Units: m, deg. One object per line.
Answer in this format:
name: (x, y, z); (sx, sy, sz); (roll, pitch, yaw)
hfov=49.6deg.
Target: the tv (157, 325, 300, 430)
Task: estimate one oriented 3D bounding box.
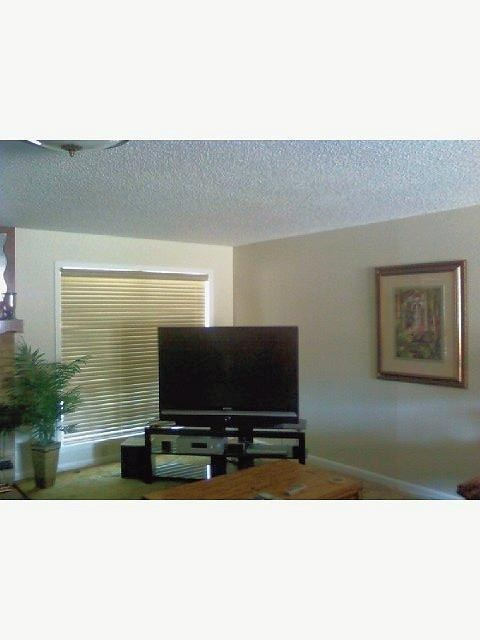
tv: (-0.043, 0.299, 2.533); (0.547, 0.361, 0.052); (-1, -7, 10)
